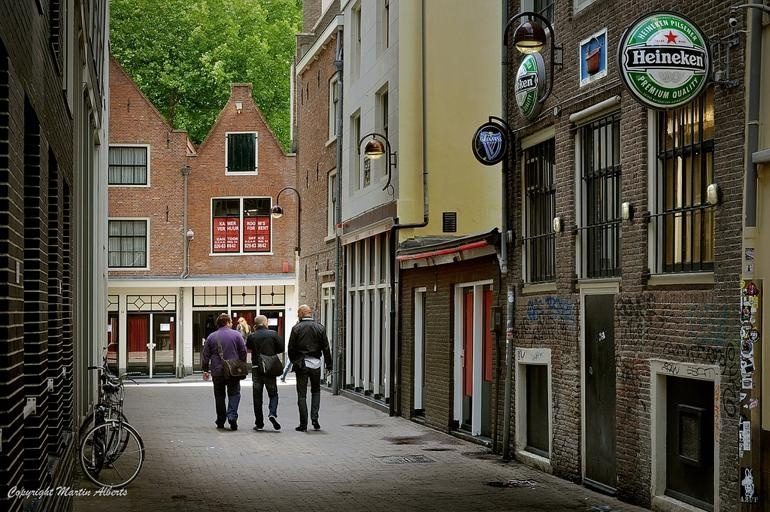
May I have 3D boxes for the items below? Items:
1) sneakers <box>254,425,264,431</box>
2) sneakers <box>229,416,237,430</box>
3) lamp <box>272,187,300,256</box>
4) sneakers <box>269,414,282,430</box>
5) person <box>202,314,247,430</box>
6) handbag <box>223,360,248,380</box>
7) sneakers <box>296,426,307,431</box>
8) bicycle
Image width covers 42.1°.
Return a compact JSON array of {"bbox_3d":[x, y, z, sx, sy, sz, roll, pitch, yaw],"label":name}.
[{"bbox_3d":[-2.452,3.306,19.294,0.174,0.114,0.254,0,-6,-7],"label":"sneakers"},{"bbox_3d":[-2.922,3.231,19.177,0.083,0.282,0.184,-1,-1,-4],"label":"sneakers"},{"bbox_3d":[-3.811,-1.199,38.092,1.086,0.490,2.738,6,33,-5],"label":"lamp"},{"bbox_3d":[-2.126,3.248,19.289,0.132,0.144,0.376,-5,-46,10],"label":"sneakers"},{"bbox_3d":[-3.135,2.258,19.472,0.808,2.230,0.936,0,-4,-11],"label":"person"},{"bbox_3d":[-2.874,2.170,19.136,0.543,0.455,0.315,2,-6,-27],"label":"handbag"},{"bbox_3d":[-1.628,3.344,19.397,0.211,0.104,0.346,0,-6,-8],"label":"sneakers"},{"bbox_3d":[-3.708,2.507,14.048,0.736,1.204,1.815,3,1,-12],"label":"bicycle"}]
